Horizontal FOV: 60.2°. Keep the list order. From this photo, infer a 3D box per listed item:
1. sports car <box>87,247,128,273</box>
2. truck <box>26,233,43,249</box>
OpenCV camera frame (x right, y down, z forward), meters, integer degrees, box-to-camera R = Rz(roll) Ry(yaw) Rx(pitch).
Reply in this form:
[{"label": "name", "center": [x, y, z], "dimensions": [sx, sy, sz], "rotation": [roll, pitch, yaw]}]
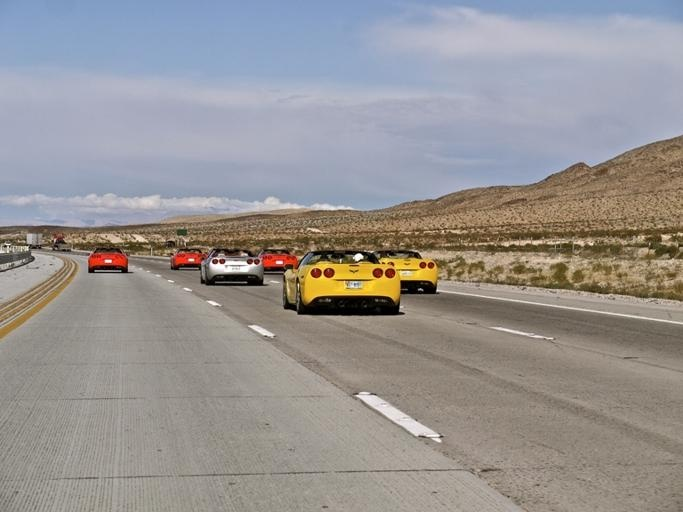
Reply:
[{"label": "sports car", "center": [-14.780, 0.230, 37.213], "dimensions": [2.232, 1.538, 1.640], "rotation": [0, 1, -20]}, {"label": "truck", "center": [-61.354, -3.169, 117.108], "dimensions": [2.923, 2.343, 5.144], "rotation": [0, 3, -23]}]
